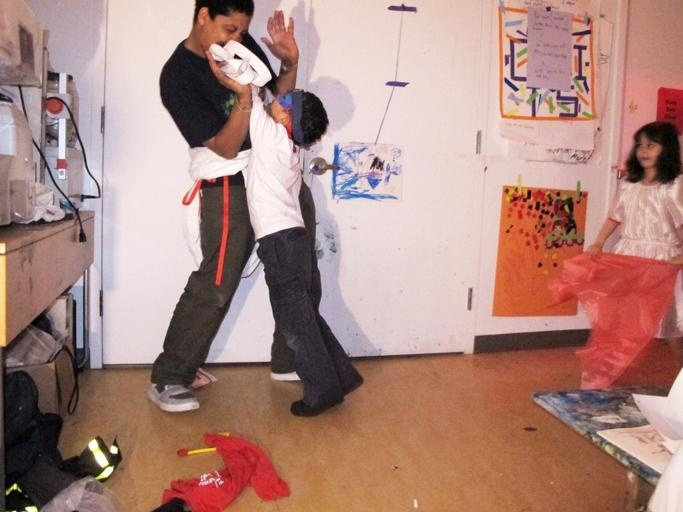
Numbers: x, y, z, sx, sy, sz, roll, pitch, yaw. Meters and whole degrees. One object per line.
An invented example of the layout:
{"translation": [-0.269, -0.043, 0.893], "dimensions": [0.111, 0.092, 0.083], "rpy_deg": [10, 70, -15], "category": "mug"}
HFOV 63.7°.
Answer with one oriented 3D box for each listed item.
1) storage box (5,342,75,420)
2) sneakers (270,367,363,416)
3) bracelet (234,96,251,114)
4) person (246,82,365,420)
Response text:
{"translation": [-1.272, 0.464, 2.378], "dimensions": [0.250, 0.313, 0.448], "rpy_deg": [-1, 18, -24], "category": "storage box"}
{"translation": [-0.109, 0.647, 2.592], "dimensions": [0.261, 0.104, 0.082], "rpy_deg": [-33, 27, 13], "category": "sneakers"}
{"translation": [-0.404, -0.613, 2.234], "dimensions": [0.046, 0.043, 0.059], "rpy_deg": [13, -8, -8], "category": "bracelet"}
{"translation": [-0.166, 0.001, 2.511], "dimensions": [0.556, 1.453, 0.349], "rpy_deg": [4, 14, 10], "category": "person"}
